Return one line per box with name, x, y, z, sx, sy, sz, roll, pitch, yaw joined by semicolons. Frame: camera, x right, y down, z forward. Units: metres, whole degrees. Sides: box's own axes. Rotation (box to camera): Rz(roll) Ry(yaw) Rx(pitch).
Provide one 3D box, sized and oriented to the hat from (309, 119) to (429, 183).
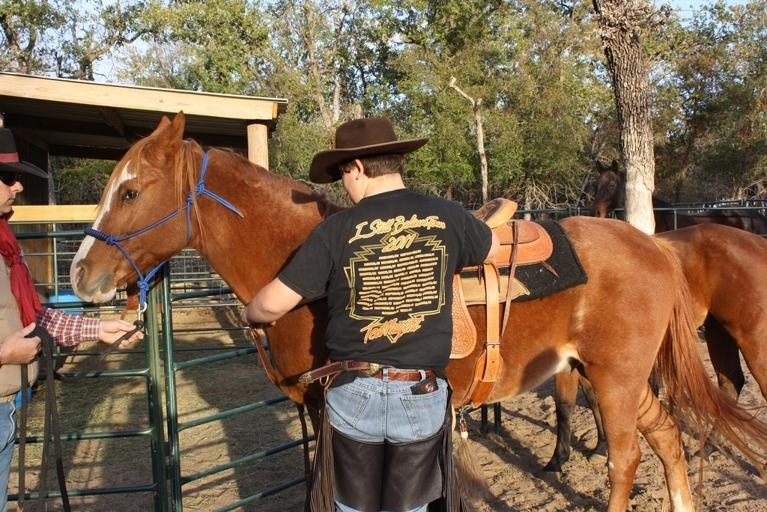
hat;-0.200;-0.965;6.257;0.645;0.284;0.767;-13;-5;-18
